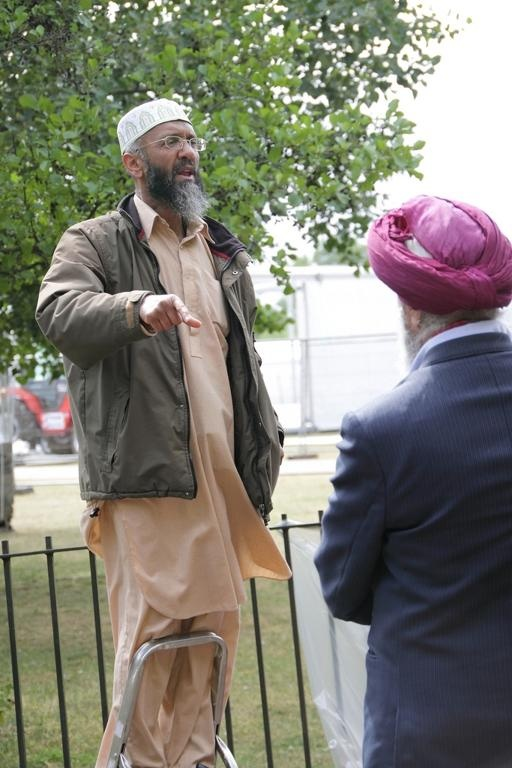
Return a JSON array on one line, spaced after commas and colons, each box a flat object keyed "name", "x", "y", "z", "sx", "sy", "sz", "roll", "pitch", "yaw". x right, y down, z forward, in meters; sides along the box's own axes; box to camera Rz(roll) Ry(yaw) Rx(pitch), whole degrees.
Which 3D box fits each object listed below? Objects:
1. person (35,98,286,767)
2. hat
[{"name": "person", "x": -0.279, "y": 0.100, "z": 3.536, "sx": 0.637, "sy": 2.132, "sz": 0.871, "roll": -2, "pitch": 5, "yaw": 14}, {"name": "hat", "x": -0.352, "y": -0.872, "z": 3.760, "sx": 0.228, "sy": 0.102, "sz": 0.214, "roll": -18, "pitch": -7, "yaw": -22}]
